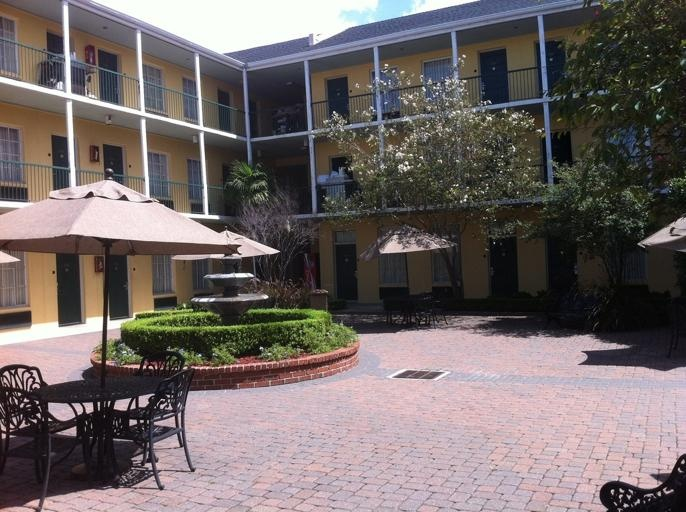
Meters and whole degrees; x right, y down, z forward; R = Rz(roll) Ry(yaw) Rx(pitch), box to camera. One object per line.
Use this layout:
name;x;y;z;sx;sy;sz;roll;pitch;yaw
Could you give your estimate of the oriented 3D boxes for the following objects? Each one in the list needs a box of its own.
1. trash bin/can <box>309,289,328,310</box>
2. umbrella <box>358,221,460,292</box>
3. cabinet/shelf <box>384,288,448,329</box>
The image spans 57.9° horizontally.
trash bin/can;-0.795;1.300;18.765;0.658;0.721;0.627;0;0;8
umbrella;1.845;-0.011;17.524;2.007;1.258;1.925;-3;3;24
cabinet/shelf;2.124;1.520;18.208;1.698;0.875;3.077;-2;3;6
